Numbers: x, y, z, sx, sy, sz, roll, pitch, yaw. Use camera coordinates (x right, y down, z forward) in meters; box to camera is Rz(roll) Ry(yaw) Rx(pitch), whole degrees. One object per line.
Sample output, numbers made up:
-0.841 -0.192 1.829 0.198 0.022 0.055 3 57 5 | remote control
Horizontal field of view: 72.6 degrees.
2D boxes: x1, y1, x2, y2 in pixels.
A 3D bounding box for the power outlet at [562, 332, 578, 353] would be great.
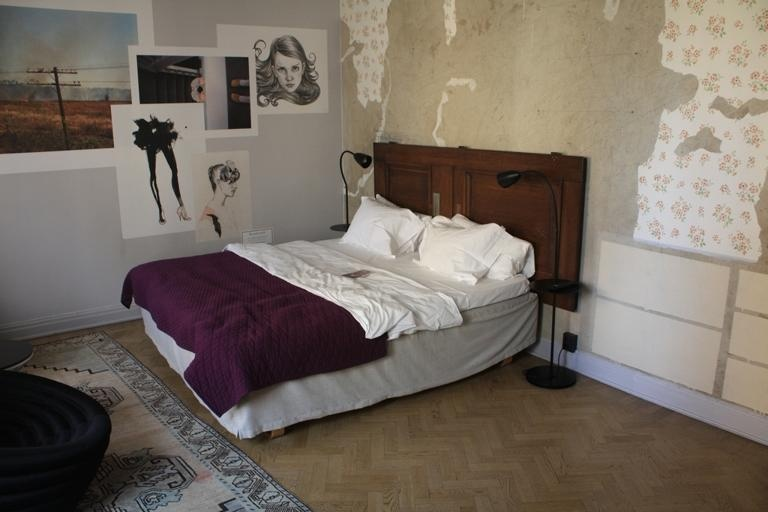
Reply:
1.588 0.739 4.483 0.103 0.190 0.135 -15 20 -42 | power outlet
